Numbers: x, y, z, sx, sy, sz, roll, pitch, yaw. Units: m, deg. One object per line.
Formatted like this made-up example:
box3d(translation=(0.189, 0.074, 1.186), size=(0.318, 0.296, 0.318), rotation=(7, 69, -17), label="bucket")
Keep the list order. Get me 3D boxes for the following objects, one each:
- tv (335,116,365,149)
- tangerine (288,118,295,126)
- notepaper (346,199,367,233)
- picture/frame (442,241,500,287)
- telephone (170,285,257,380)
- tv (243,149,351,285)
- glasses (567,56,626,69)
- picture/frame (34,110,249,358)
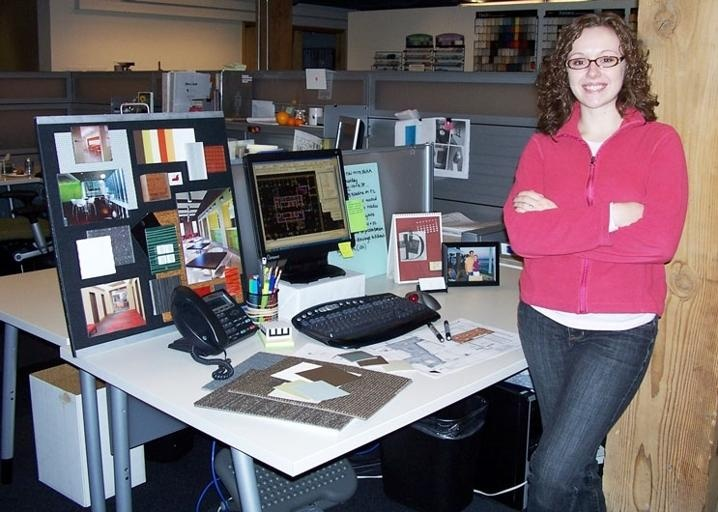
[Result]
box3d(translation=(-0.055, -0.725, 3.269), size=(0.143, 0.181, 0.428), rotation=(-7, 15, -6), label="tv")
box3d(translation=(-0.524, -1.074, 4.475), size=(0.055, 0.052, 0.127), rotation=(-6, 15, -5), label="tangerine")
box3d(translation=(-0.011, -0.162, 2.246), size=(0.009, 0.140, 0.105), rotation=(-4, 0, -30), label="notepaper")
box3d(translation=(0.459, 0.036, 2.331), size=(0.186, 0.151, 0.018), rotation=(-1, -1, -6), label="picture/frame")
box3d(translation=(-0.453, 0.204, 1.779), size=(0.250, 0.206, 0.411), rotation=(8, 7, 7), label="telephone")
box3d(translation=(-0.237, -0.143, 2.041), size=(0.429, 0.453, 0.181), rotation=(-13, 19, -38), label="tv")
box3d(translation=(0.686, -0.561, 1.625), size=(0.146, 0.040, 0.052), rotation=(2, 16, 24), label="glasses")
box3d(translation=(-0.665, -0.064, 1.767), size=(0.782, 0.853, 0.039), rotation=(-13, 13, -37), label="picture/frame")
